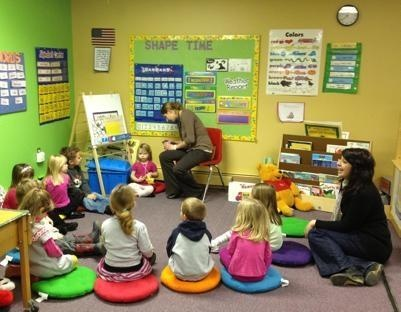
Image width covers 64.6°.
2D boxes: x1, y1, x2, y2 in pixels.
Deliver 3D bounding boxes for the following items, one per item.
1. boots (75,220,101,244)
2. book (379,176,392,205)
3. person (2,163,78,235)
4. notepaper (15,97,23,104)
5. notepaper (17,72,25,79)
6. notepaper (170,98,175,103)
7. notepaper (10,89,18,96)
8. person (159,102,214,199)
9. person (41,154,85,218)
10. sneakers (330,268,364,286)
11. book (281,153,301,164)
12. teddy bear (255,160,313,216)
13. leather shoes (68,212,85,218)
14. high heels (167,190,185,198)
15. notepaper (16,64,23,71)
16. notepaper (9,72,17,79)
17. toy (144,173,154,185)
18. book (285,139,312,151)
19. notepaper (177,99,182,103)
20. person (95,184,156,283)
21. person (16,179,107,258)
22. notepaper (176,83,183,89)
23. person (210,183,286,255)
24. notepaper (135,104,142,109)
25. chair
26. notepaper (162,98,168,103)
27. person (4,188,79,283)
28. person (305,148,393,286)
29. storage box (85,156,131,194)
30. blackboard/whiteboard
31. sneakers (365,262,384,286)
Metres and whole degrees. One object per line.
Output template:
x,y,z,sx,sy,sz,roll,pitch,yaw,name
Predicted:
-1.074,0.753,3.069,0.243,0.230,0.151,12,-31,-7,boots
2.454,0.456,4.182,0.159,0.285,0.309,3,13,14,book
-1.533,0.395,3.256,0.533,0.836,0.853,3,1,41,person
-2.365,-0.720,4.089,0.009,0.082,0.082,0,25,23,notepaper
-2.346,-1.048,4.098,0.015,0.073,0.105,2,15,24,notepaper
-0.444,-0.879,4.959,0.106,0.090,0.014,-2,10,7,notepaper
-2.374,-0.802,3.992,0.012,0.057,0.097,0,11,19,notepaper
-0.225,-0.090,4.624,0.784,1.331,0.572,4,12,9,person
-1.631,0.348,3.759,0.460,0.748,0.518,9,10,10,person
1.219,1.020,2.651,0.306,0.118,0.106,2,12,-2,sneakers
1.252,0.034,4.422,0.259,0.134,0.180,7,13,25,book
1.102,0.435,4.234,0.482,0.627,0.790,-12,9,-15,teddy bear
-1.516,0.717,3.846,0.132,0.047,0.075,-1,15,-32,leather shoes
-0.357,0.559,4.598,0.247,0.101,0.089,2,4,-21,high heels
-2.346,-1.149,4.076,0.014,0.073,0.103,-6,12,21,notepaper
-2.369,-1.012,3.963,0.015,0.077,0.110,-2,13,20,notepaper
-0.766,0.351,4.669,0.117,0.062,0.159,5,49,-43,toy
1.384,-0.151,4.432,0.236,0.134,0.166,6,13,23,book
-0.340,-0.866,4.951,0.066,0.066,0.015,1,11,16,notepaper
-0.609,0.628,2.557,0.476,0.821,0.332,0,12,-9,person
-1.166,0.604,2.954,1.080,0.787,0.513,1,4,-17,person
-0.337,-1.090,4.913,0.084,0.077,0.019,4,4,11,notepaper
0.480,0.657,2.971,0.521,0.743,0.888,-3,-17,31,person
-1.012,-0.792,5.042,0.078,0.068,0.019,3,1,9,notepaper
0.187,0.127,4.888,0.565,0.707,0.542,-8,-5,-26,chair
-0.572,-0.875,5.002,0.083,0.082,0.019,0,7,11,notepaper
-1.291,0.642,2.618,0.453,0.743,0.531,0,0,17,person
1.389,0.500,2.803,0.725,1.092,0.611,-1,12,-13,person
-1.297,0.244,4.843,0.712,0.527,0.521,1,11,4,storage box
-1.418,-0.557,4.756,0.104,0.763,0.762,-17,3,34,blackboard/whiteboard
1.456,1.003,2.668,0.090,0.132,0.204,13,16,41,sneakers
